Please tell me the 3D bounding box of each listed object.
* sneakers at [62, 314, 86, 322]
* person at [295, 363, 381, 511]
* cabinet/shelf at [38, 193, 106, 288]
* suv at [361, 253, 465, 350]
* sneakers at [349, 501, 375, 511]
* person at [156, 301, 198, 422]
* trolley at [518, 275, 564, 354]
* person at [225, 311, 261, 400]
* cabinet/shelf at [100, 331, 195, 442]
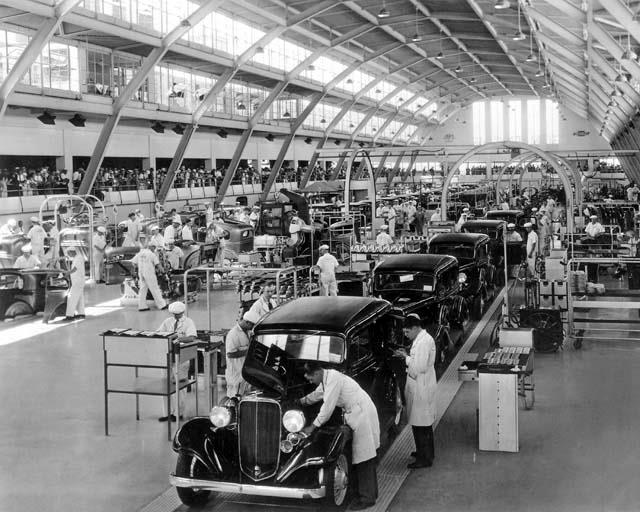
[{"bbox_3d":[-7.570,1.915,18.262,0.215,0.308,0.664,2,-6,41],"label":"sneakers"},{"bbox_3d":[0.298,2.206,7.257,0.960,1.302,0.561,3,-1,-7],"label":"person"},{"bbox_3d":[-10.577,-0.832,25.467,2.932,3.654,2.732,-12,18,-43],"label":"cabinet/shelf"},{"bbox_3d":[2.321,0.859,13.675,1.400,1.397,2.689,-1,1,20],"label":"suv"},{"bbox_3d":[0.523,3.023,7.206,0.322,0.158,0.136,-3,4,5],"label":"sneakers"},{"bbox_3d":[-2.554,1.882,10.468,0.683,2.081,0.553,1,-7,-2],"label":"person"},{"bbox_3d":[5.261,1.462,13.896,0.831,1.684,0.769,-2,0,29],"label":"trolley"},{"bbox_3d":[-1.181,1.694,9.510,0.603,0.501,1.699,-1,38,-7],"label":"person"},{"bbox_3d":[-2.849,2.146,10.136,1.315,1.751,1.322,1,1,15],"label":"cabinet/shelf"}]
